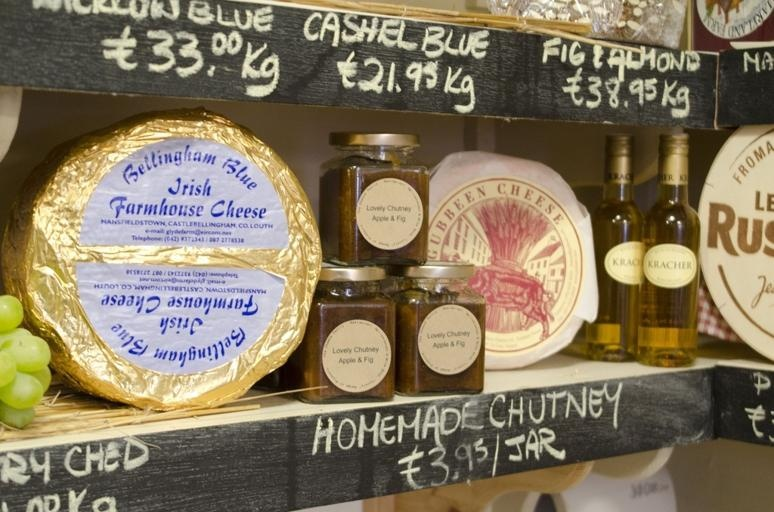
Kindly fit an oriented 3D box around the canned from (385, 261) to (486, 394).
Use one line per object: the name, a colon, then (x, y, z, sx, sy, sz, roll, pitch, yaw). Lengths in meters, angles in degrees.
canned: (0.115, 0.117, 1.199, 0.173, 0.171, 0.187, 3, 84, -43)
